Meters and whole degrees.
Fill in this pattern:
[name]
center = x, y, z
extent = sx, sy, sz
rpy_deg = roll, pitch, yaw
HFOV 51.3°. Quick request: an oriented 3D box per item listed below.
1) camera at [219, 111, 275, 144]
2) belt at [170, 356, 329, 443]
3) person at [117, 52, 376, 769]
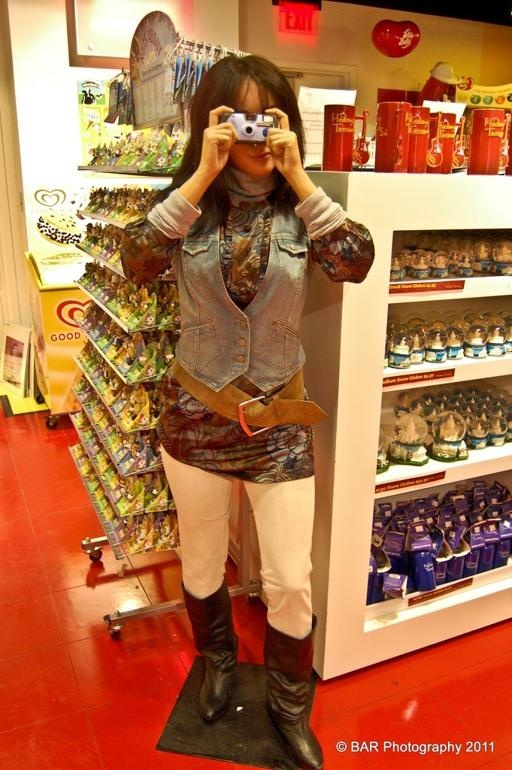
[camera]
center = -0.012, -0.506, 1.042
extent = 0.071, 0.072, 0.029
rpy_deg = -2, -21, 0
[belt]
center = -0.011, 0.048, 1.244
extent = 0.249, 0.068, 0.196
rpy_deg = 30, -33, -10
[person]
center = -0.038, 0.155, 1.351
extent = 0.503, 1.730, 0.586
rpy_deg = -7, 10, -43
